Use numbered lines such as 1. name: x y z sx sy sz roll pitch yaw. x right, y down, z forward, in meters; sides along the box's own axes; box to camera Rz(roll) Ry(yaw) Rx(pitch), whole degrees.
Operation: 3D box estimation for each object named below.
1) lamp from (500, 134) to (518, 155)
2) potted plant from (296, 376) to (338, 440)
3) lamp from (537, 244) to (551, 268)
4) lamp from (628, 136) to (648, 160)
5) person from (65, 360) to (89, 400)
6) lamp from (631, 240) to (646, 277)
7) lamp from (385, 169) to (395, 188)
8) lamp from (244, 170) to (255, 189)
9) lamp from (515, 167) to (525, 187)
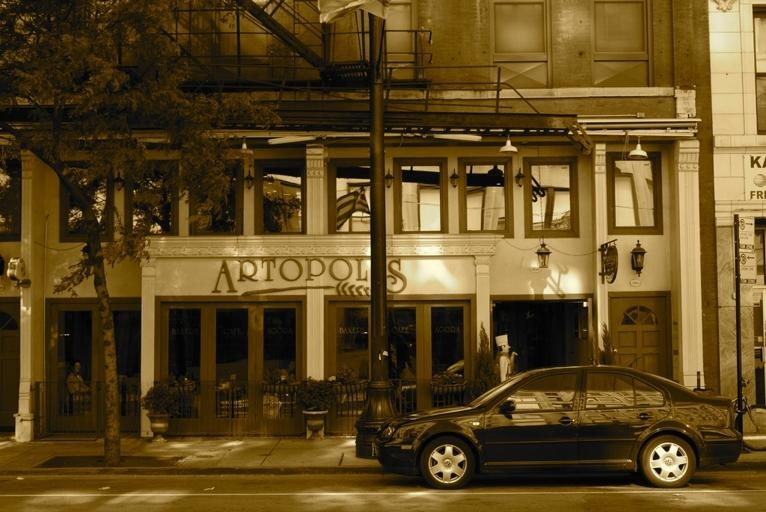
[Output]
1. lamp: 3.198 -2.891 35.533 0.446 0.535 0.497 0 -7 1
2. potted plant: -1.887 3.901 35.515 1.243 1.786 1.439 -1 -1 3
3. lamp: 4.232 -0.036 36.686 0.397 0.686 0.590 -1 -5 7
4. lamp: 6.541 -2.841 35.661 0.589 0.667 0.612 -1 -3 11
5. person: -8.169 3.311 36.918 0.561 1.020 0.252 0 -5 -9
6. lamp: 6.700 0.054 36.567 0.369 0.951 0.459 -1 -5 7
7. lamp: 0.154 -2.059 37.016 0.344 0.611 0.396 -2 5 -9
8. lamp: -3.580 -2.045 36.833 0.367 0.478 0.336 1 -3 -17
9. lamp: 3.639 -2.125 37.011 0.255 0.488 0.302 -1 -5 -2
